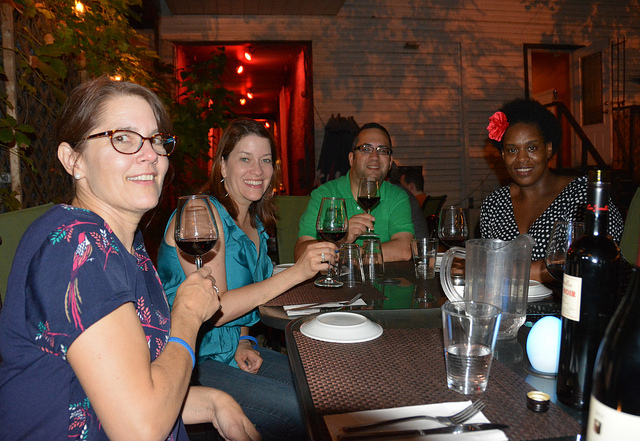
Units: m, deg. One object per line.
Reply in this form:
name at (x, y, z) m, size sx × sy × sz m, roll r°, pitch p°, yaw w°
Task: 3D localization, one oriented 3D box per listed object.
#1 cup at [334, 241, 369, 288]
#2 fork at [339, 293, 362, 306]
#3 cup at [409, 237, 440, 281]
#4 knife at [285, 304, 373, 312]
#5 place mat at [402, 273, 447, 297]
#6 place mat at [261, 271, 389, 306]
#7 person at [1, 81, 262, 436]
cup at (0.159, 0.222, 2.443) m, size 0.201 × 0.200 × 0.166 m, roll 3°, pitch 0°, yaw -12°
fork at (0.127, 0.315, 1.972) m, size 0.172 × 0.023 × 0.024 m, roll -1°, pitch 36°, yaw -44°
cup at (0.557, 0.197, 2.529) m, size 0.194 × 0.233 × 0.176 m, roll -2°, pitch -7°, yaw 0°
knife at (0.038, 0.344, 1.914) m, size 0.341 × 0.021 × 0.064 m, roll -1°, pitch 7°, yaw -3°
place mat at (0.475, 0.288, 2.268) m, size 0.178 × 0.022 × 0.441 m, roll 1°, pitch 7°, yaw 10°
place mat at (0.056, 0.321, 2.151) m, size 0.500 × 0.030 × 0.383 m, roll 1°, pitch 7°, yaw 15°
person at (-0.661, 0.081, 1.545) m, size 0.620 × 1.078 × 0.573 m, roll -2°, pitch 8°, yaw -6°
